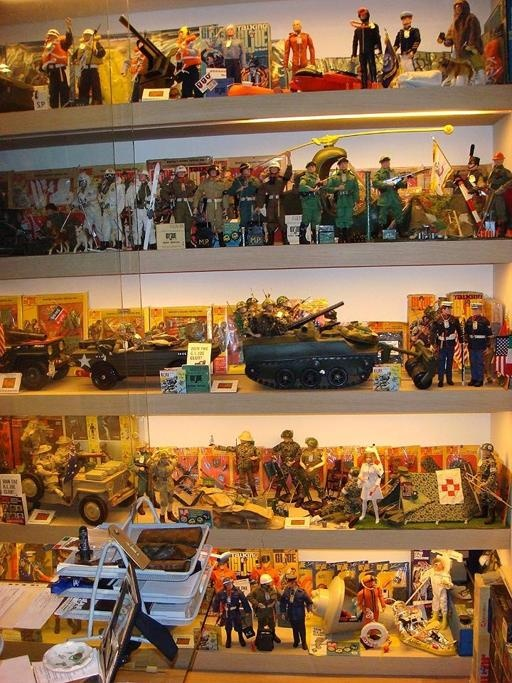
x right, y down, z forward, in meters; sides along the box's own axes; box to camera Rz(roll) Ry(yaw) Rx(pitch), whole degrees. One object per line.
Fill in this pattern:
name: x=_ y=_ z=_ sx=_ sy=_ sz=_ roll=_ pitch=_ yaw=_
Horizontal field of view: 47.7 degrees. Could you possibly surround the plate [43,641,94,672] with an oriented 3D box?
plate: x=-0.477 y=0.803 z=1.471 sx=0.119 sy=0.021 sz=0.105 roll=-6 pitch=8 yaw=-18
